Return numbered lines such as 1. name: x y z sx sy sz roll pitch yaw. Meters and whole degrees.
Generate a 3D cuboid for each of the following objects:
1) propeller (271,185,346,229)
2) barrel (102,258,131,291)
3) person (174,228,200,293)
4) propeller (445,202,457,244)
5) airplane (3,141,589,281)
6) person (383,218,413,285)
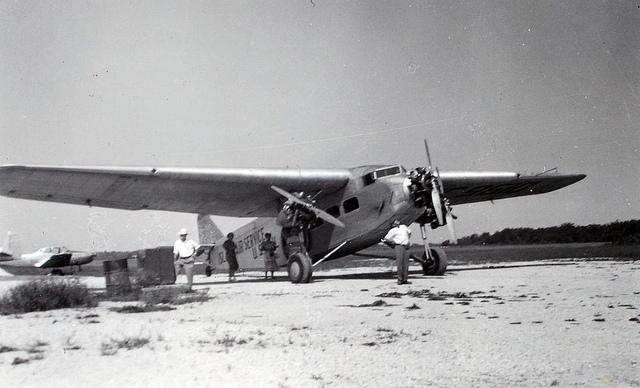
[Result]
1. propeller: -0.248 0.368 14.772 0.573 0.654 1.289 -41 -33 19
2. barrel: -5.478 2.324 13.337 0.778 0.994 0.748 -12 -23 -5
3. person: -3.484 1.807 13.061 0.640 1.766 0.666 -6 10 -17
4. propeller: 3.553 0.801 13.527 0.110 1.208 0.192 -22 6 21
5. airplane: -0.868 0.755 15.716 14.725 4.424 6.230 -4 9 -9
6. person: 2.116 1.614 13.241 0.682 1.624 1.132 -1 9 10
